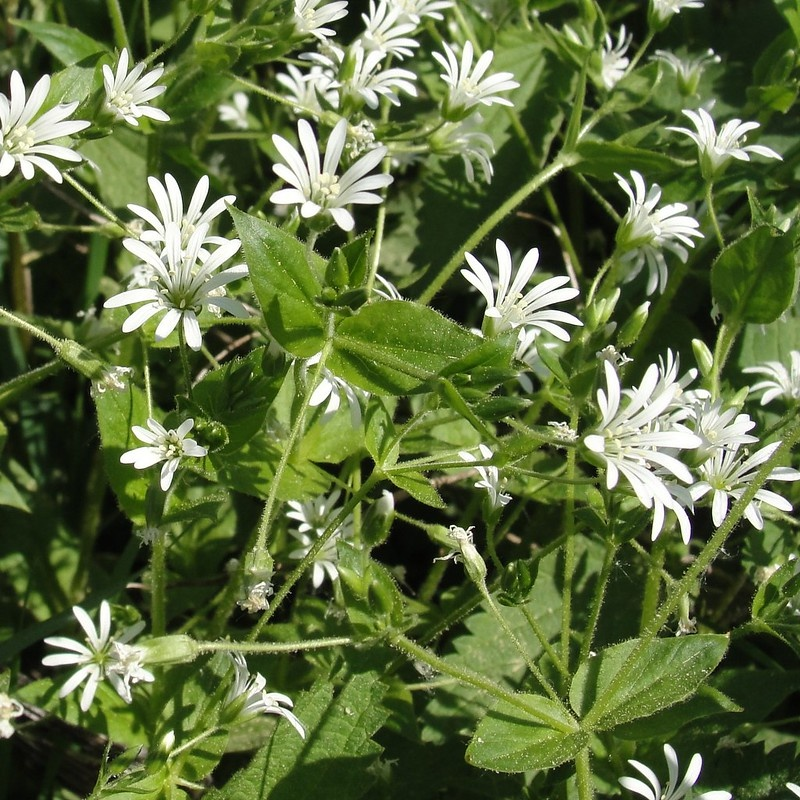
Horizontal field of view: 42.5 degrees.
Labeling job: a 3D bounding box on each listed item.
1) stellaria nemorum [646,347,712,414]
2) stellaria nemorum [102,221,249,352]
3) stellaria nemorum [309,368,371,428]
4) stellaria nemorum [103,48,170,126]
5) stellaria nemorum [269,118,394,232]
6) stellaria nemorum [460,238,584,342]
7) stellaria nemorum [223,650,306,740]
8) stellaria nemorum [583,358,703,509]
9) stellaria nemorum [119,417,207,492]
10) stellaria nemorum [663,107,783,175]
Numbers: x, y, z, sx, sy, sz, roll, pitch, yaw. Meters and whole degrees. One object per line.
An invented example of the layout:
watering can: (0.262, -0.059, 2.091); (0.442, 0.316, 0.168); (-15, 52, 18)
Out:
stellaria nemorum: (0.409, -0.025, 1.504); (0.079, 0.092, 0.048); (11, 82, -3)
stellaria nemorum: (-0.310, -0.155, 1.459); (0.145, 0.080, 0.151); (8, 5, -40)
stellaria nemorum: (-0.099, -0.007, 1.540); (0.027, 0.079, 0.083); (3, 54, 51)
stellaria nemorum: (-0.397, -0.491, 1.593); (0.055, 0.033, 0.070); (-23, 53, -15)
stellaria nemorum: (-0.102, -0.296, 1.460); (0.174, 0.201, 0.110); (12, 71, -3)
stellaria nemorum: (0.221, -0.198, 1.899); (0.199, 0.106, 0.217); (34, 32, -10)
stellaria nemorum: (-0.190, 0.435, 1.491); (0.048, 0.134, 0.116); (-42, 98, 1)
stellaria nemorum: (0.324, 0.032, 1.407); (0.167, 0.075, 0.193); (29, 88, -2)
stellaria nemorum: (-0.311, 0.063, 1.443); (0.078, 0.036, 0.094); (-3, 21, 19)
stellaria nemorum: (0.625, -0.498, 1.994); (0.173, 0.107, 0.207); (25, 32, 12)
